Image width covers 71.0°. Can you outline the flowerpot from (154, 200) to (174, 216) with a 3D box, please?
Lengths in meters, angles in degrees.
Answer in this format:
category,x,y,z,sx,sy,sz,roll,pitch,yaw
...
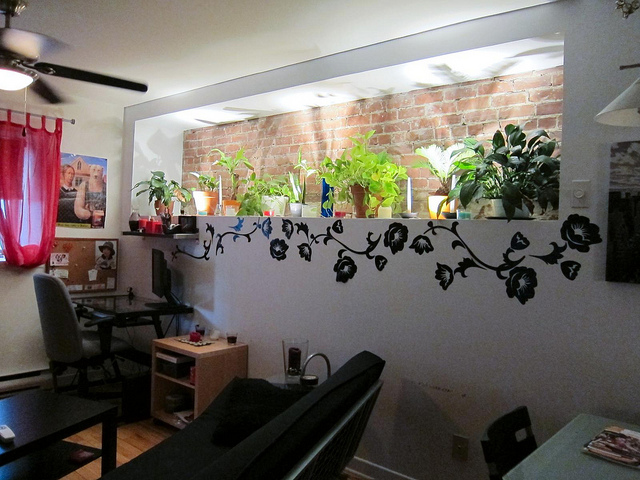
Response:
category,x,y,z,sx,sy,sz,roll,pitch,yaw
flowerpot,-1.707,-0.353,4.990,0.174,0.154,0.189,3,-6,-40

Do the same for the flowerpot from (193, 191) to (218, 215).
category,x,y,z,sx,sy,sz,roll,pitch,yaw
flowerpot,-1.137,-0.364,4.583,0.231,0.180,0.218,-6,-8,40

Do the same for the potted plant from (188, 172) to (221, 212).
category,x,y,z,sx,sy,sz,roll,pitch,yaw
potted plant,-1.176,-0.489,4.629,0.358,0.398,0.305,-1,-1,41

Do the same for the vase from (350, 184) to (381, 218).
category,x,y,z,sx,sy,sz,roll,pitch,yaw
vase,0.355,-0.293,3.448,0.232,0.183,0.235,1,-2,-5

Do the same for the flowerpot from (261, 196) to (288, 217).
category,x,y,z,sx,sy,sz,roll,pitch,yaw
flowerpot,-0.402,-0.306,4.095,0.176,0.183,0.222,-6,-8,42

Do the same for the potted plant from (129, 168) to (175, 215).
category,x,y,z,sx,sy,sz,roll,pitch,yaw
potted plant,-1.859,-0.558,5.042,0.470,0.524,0.503,-1,3,-19

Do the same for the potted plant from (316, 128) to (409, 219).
category,x,y,z,sx,sy,sz,roll,pitch,yaw
potted plant,0.349,-0.519,3.568,0.687,0.696,0.448,1,3,12

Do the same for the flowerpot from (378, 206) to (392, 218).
category,x,y,z,sx,sy,sz,roll,pitch,yaw
flowerpot,0.500,-0.218,3.476,0.086,0.085,0.086,2,-2,-36

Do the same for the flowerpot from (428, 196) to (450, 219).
category,x,y,z,sx,sy,sz,roll,pitch,yaw
flowerpot,0.890,-0.243,3.409,0.162,0.188,0.163,0,-1,24

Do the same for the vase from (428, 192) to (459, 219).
category,x,y,z,sx,sy,sz,roll,pitch,yaw
vase,0.884,-0.229,3.258,0.215,0.177,0.197,-3,-6,38

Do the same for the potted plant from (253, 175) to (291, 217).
category,x,y,z,sx,sy,sz,roll,pitch,yaw
potted plant,-0.421,-0.373,4.149,0.403,0.417,0.336,0,-1,26

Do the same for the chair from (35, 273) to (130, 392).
category,x,y,z,sx,sy,sz,roll,pitch,yaw
chair,-2.147,0.941,4.128,0.727,1.144,0.718,-4,-5,15

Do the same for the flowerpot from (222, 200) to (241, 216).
category,x,y,z,sx,sy,sz,roll,pitch,yaw
flowerpot,-0.838,-0.318,4.313,0.149,0.141,0.120,-1,3,-15

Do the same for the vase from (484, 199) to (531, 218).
category,x,y,z,sx,sy,sz,roll,pitch,yaw
vase,1.144,-0.202,2.843,0.180,0.068,0.169,-1,-1,39

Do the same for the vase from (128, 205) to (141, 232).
category,x,y,z,sx,sy,sz,roll,pitch,yaw
vase,-1.994,-0.236,4.891,0.099,0.279,0.592,-1,3,-21

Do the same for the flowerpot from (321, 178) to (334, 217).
category,x,y,z,sx,sy,sz,roll,pitch,yaw
flowerpot,0.065,-0.351,3.726,0.103,0.316,0.222,0,3,0

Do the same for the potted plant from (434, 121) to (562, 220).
category,x,y,z,sx,sy,sz,roll,pitch,yaw
potted plant,1.209,-0.416,2.999,0.735,0.522,0.748,-1,3,7

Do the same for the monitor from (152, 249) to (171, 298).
category,x,y,z,sx,sy,sz,roll,pitch,yaw
monitor,-1.548,0.334,4.439,0.167,0.486,0.480,-3,-1,-27

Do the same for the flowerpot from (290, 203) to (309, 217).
category,x,y,z,sx,sy,sz,roll,pitch,yaw
flowerpot,-0.198,-0.263,3.875,0.097,0.114,0.072,0,3,-7

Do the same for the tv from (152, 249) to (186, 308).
category,x,y,z,sx,sy,sz,roll,pitch,yaw
tv,-1.512,0.383,4.434,0.375,0.561,0.194,1,3,26
